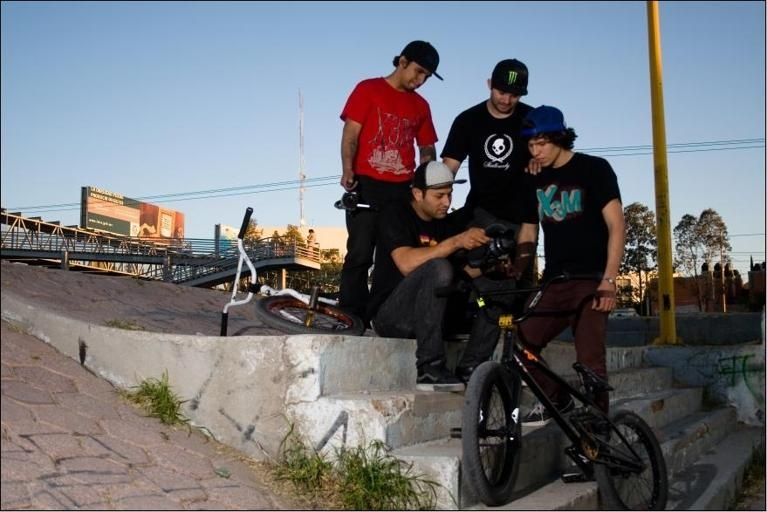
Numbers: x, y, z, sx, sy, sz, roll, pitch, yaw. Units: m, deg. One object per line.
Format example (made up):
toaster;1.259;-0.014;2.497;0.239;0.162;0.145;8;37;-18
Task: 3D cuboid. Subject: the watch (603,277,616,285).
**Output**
watch;1.774;0.193;4.953;0.057;0.027;0.056;26;-5;-17

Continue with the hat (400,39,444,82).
hat;0.426;-1.953;6.370;0.334;0.370;0.555;6;2;-29

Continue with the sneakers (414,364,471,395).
sneakers;0.488;1.023;5.310;0.433;0.213;0.204;1;-4;-18

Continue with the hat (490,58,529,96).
hat;1.229;-1.742;6.252;0.387;0.355;0.294;7;2;16

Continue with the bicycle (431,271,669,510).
bicycle;1.311;1.186;4.806;2.356;1.550;1.123;20;-28;-37
